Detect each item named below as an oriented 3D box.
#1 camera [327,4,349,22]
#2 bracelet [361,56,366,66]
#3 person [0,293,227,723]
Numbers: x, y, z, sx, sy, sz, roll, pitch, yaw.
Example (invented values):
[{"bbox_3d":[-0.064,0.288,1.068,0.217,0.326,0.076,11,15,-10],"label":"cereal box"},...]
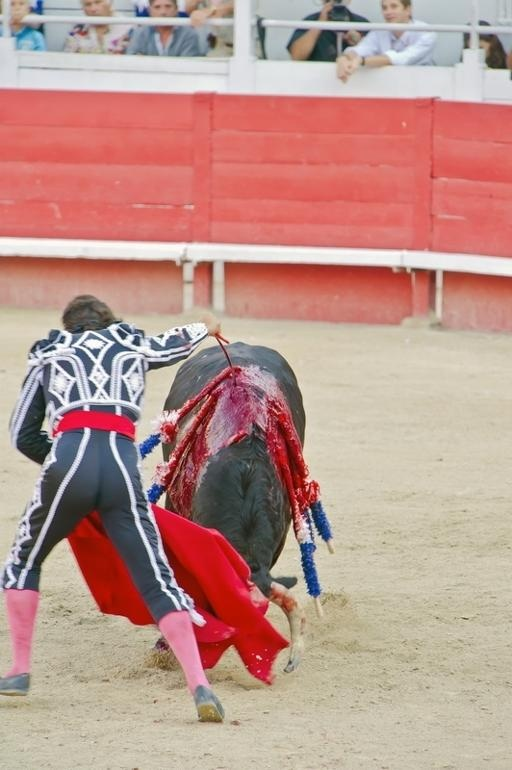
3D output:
[{"bbox_3d":[0.430,-1.924,7.185,0.115,0.113,0.119,3,20,5],"label":"camera"},{"bbox_3d":[0.527,-1.579,6.765,0.026,0.040,0.077,0,13,4],"label":"bracelet"},{"bbox_3d":[-0.297,0.259,2.757,0.440,0.796,0.579,-1,14,-2],"label":"person"}]
